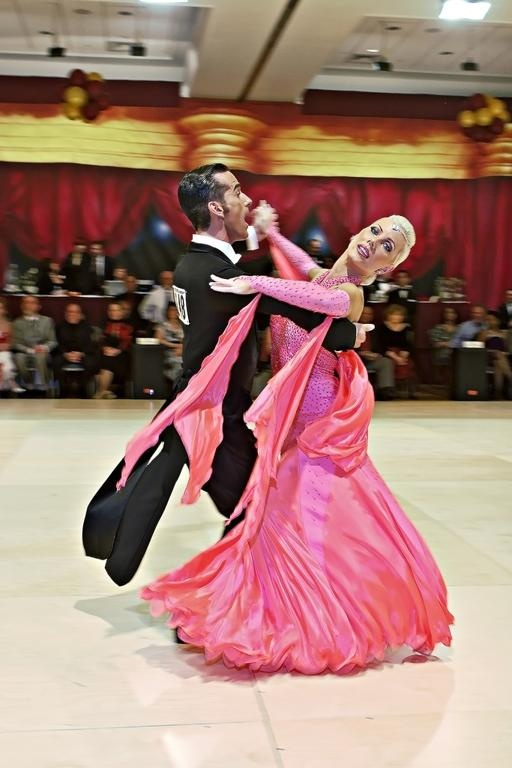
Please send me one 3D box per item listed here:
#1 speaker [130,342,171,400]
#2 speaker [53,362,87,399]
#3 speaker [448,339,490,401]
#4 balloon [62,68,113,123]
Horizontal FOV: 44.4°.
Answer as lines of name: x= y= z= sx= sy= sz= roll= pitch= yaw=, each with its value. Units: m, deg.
speaker: x=-1.325 y=-0.177 z=7.856 sx=0.471 sy=0.759 sz=0.401 roll=1 pitch=1 yaw=-7
speaker: x=-2.353 y=-0.046 z=7.987 sx=0.412 sy=0.452 sz=0.255 roll=1 pitch=1 yaw=-16
speaker: x=2.878 y=-0.125 z=8.478 sx=0.439 sy=0.715 sz=0.331 roll=2 pitch=1 yaw=15
balloon: x=-2.276 y=-3.864 z=8.371 sx=0.671 sy=0.587 sz=0.288 roll=-1 pitch=16 yaw=-24
